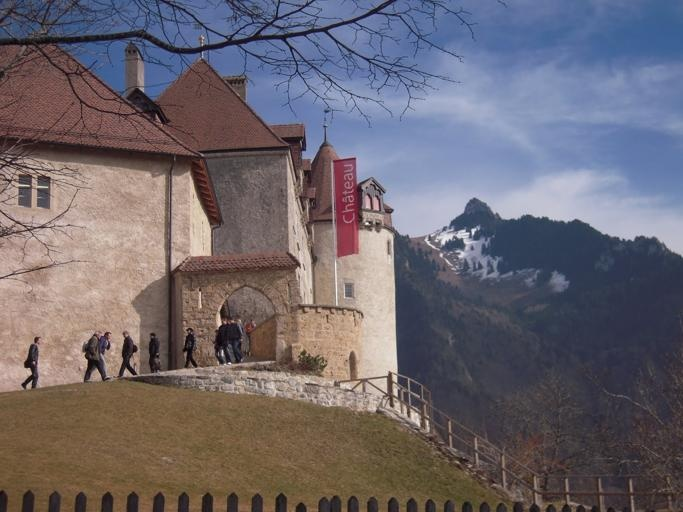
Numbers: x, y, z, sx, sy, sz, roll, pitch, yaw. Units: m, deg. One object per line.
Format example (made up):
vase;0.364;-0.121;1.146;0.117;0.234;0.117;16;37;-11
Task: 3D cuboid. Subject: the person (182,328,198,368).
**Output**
person;-7.095;4.367;59.279;0.773;1.738;1.356;13;3;-9

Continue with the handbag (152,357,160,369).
handbag;-8.729;5.063;59.240;0.294;0.372;0.489;3;-37;-10

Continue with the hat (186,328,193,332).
hat;-7.227;3.501;59.648;0.202;0.156;0.185;-2;-5;39

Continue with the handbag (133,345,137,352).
handbag;-9.736;4.348;59.364;0.112;0.310;0.228;1;-12;-21
